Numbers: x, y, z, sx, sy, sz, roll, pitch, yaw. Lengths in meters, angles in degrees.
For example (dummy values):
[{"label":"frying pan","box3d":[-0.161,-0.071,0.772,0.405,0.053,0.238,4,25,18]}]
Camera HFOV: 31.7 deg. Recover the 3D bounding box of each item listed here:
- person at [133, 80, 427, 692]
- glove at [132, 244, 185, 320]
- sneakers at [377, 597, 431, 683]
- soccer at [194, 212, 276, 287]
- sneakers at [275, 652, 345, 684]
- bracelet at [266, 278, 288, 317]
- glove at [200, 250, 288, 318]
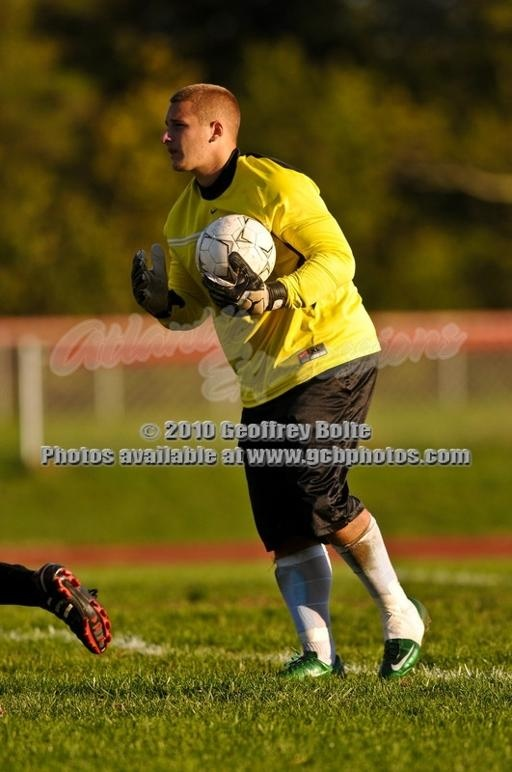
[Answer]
[{"label":"person","box3d":[0.017,-0.085,3.275,1.014,2.327,0.985,-3,-8,8]},{"label":"glove","box3d":[-0.404,-0.410,3.507,0.088,0.280,0.211,-26,39,0]},{"label":"sneakers","box3d":[0.556,0.978,3.459,0.133,0.153,0.343,-6,47,45]},{"label":"soccer","box3d":[-0.077,-0.462,3.172,0.294,0.282,0.270,0,13,-8]},{"label":"sneakers","box3d":[0.217,1.049,3.378,0.284,0.103,0.096,2,-11,-25]},{"label":"bracelet","box3d":[0.073,-0.301,2.910,0.079,0.087,0.097,-1,-2,3]},{"label":"glove","box3d":[-0.043,-0.315,2.914,0.261,0.140,0.186,14,-2,-12]}]
